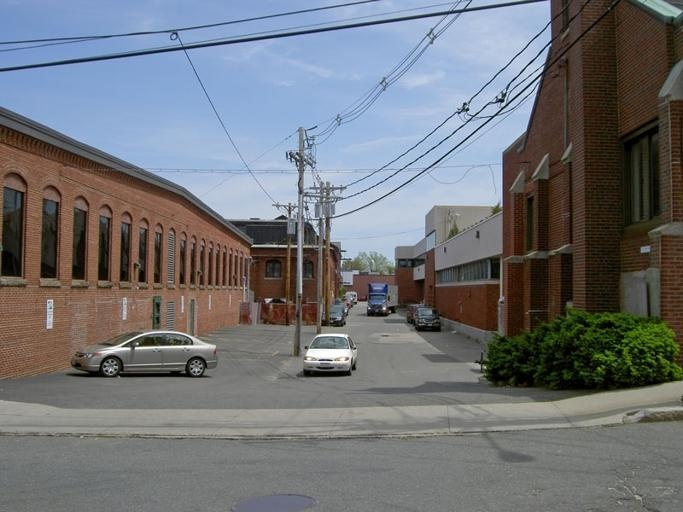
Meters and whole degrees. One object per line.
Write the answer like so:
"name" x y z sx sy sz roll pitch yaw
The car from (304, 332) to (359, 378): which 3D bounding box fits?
"car" -0.488 3.831 28.082 1.796 1.611 2.383 -4 -8 5
